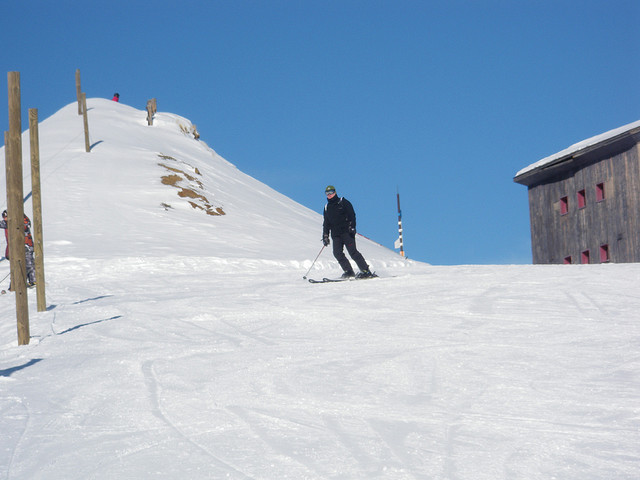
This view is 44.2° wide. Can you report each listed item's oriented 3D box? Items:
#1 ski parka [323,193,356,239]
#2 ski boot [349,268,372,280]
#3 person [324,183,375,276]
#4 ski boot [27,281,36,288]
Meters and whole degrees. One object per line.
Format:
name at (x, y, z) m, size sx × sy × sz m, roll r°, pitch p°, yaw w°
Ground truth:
ski parka at (0.421, -0.517, 18.378) m, size 0.877 × 1.123 × 0.390 m, roll 11°, pitch 19°, yaw 40°
ski boot at (0.850, 0.803, 18.258) m, size 0.673 × 0.268 × 0.200 m, roll 0°, pitch 1°, yaw -2°
person at (0.521, -0.195, 18.341) m, size 1.271 × 2.127 × 0.596 m, roll 12°, pitch 20°, yaw 41°
ski boot at (-6.662, 1.008, 18.152) m, size 0.184 × 0.089 × 0.290 m, roll -3°, pitch 6°, yaw -14°
